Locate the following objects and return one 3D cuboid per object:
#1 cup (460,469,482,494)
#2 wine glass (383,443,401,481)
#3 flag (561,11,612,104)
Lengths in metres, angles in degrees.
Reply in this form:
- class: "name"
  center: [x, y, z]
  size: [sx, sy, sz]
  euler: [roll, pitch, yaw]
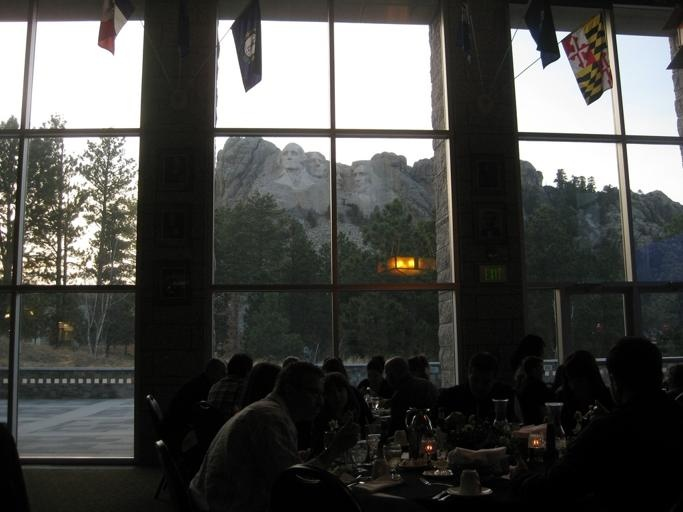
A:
- class: "cup"
  center: [0.928, 1.631, 5.443]
  size: [0.108, 0.162, 0.176]
  euler: [4, -4, 4]
- class: "wine glass"
  center: [0.410, 1.649, 6.041]
  size: [0.145, 0.232, 0.137]
  euler: [0, -3, 3]
- class: "flag"
  center: [3.234, -2.584, 9.924]
  size: [0.604, 1.208, 0.318]
  euler: [-2, -6, 18]
